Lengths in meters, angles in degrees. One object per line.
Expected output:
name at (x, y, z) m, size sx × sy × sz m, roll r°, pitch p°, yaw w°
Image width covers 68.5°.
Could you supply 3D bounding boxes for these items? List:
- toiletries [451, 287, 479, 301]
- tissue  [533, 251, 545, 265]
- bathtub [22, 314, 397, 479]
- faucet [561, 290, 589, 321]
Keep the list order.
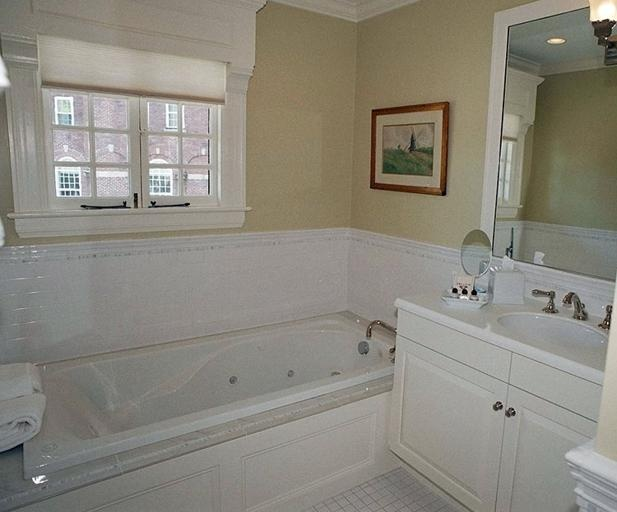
toiletries at (0.796, 0.196, 2.302) m, size 0.074 × 0.020 × 0.079 m, roll -2°, pitch 19°, yaw 6°
tissue  at (1.251, 0.013, 2.457) m, size 0.054 × 0.059 × 0.057 m, roll -1°, pitch 9°, yaw -11°
bathtub at (-0.528, 0.793, 2.666) m, size 1.929 × 0.392 × 1.140 m, roll -8°, pitch 13°, yaw -34°
faucet at (1.270, 0.244, 2.142) m, size 0.242 × 0.175 × 0.089 m, roll 6°, pitch -2°, yaw -41°
